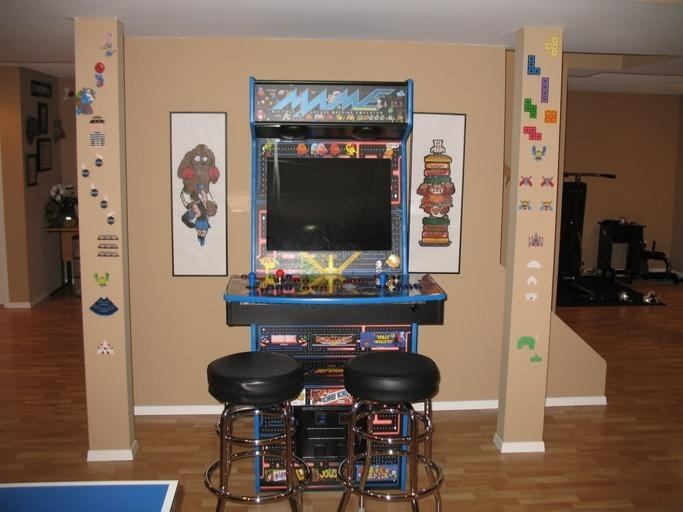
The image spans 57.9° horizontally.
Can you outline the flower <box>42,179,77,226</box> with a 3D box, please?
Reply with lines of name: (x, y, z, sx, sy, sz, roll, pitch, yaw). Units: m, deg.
flower: (-4.166, -0.746, 9.159, 0.455, 0.585, 0.464, -6, 14, -25)
